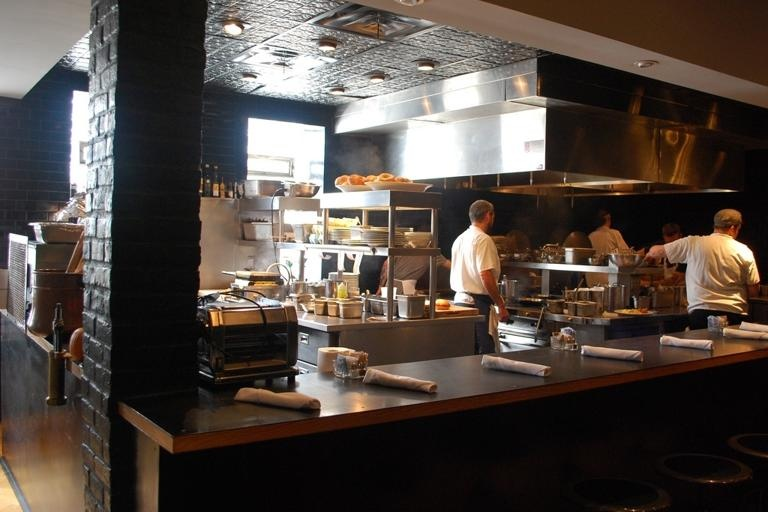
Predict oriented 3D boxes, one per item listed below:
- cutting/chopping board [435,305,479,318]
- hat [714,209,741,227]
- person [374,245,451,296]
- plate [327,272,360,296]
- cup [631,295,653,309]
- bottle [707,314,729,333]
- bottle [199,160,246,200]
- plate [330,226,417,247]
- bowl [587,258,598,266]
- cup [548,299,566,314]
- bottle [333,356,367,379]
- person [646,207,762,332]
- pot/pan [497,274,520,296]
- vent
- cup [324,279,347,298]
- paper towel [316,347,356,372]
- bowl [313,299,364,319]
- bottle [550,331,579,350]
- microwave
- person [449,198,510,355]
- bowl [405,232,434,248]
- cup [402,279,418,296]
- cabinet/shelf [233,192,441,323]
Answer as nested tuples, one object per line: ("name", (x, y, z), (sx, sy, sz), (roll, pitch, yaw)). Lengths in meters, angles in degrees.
("cutting/chopping board", (0.595, 0.465, 5.033), (0.471, 0.087, 0.156), (-2, 2, -24))
("hat", (3.253, -0.367, 5.634), (0.257, 0.111, 0.169), (-12, 15, -37))
("person", (0.489, 0.175, 6.834), (0.710, 0.366, 1.503), (16, 2, -15))
("plate", (-0.357, 0.233, 5.335), (0.241, 0.157, 0.233), (1, 1, 25))
("cup", (2.601, 0.457, 6.048), (0.129, 0.148, 0.221), (-1, 1, -11))
("bottle", (2.475, 0.486, 4.435), (0.181, 0.160, 0.133), (3, 7, 31))
("bottle", (-1.822, -0.845, 6.722), (0.431, 0.419, 0.559), (-2, 2, -16))
("plate", (-0.135, -0.165, 4.976), (0.334, 0.168, 0.860), (-3, 3, -44))
("bowl", (2.174, 0.051, 6.256), (0.080, 0.052, 0.075), (-1, 2, 0))
("cup", (1.652, 0.479, 5.727), (0.140, 0.094, 0.136), (0, -2, 0))
("bottle", (-0.180, 0.573, 3.142), (0.164, 0.114, 0.086), (-1, 2, -1))
("person", (3.072, 0.128, 5.677), (0.813, 1.120, 0.390), (0, 3, 27))
("pot/pan", (1.362, 0.337, 6.510), (0.259, 0.168, 0.184), (2, -2, -2))
("vent", (1.939, -1.392, 7.361), (3.044, 0.614, 3.095), (-7, 8, -24))
("cup", (-0.418, 0.273, 5.167), (0.167, 0.148, 0.164), (1, 1, 0))
("paper towel", (-0.262, 0.571, 3.373), (0.171, 0.092, 0.165), (0, 3, -31))
("bowl", (-0.357, 0.418, 4.845), (0.298, 0.087, 0.186), (0, 0, -15))
("bottle", (1.141, 0.527, 3.768), (0.149, 0.085, 0.105), (-1, 4, -26))
("microwave", (-0.709, 0.394, 3.103), (0.461, 0.364, 0.454), (0, 3, -30))
("person", (0.922, 0.218, 5.549), (0.426, 1.472, 0.643), (-2, 2, -13))
("bowl", (0.281, -0.135, 4.827), (0.197, 0.115, 0.163), (-1, 2, 1))
("cup", (0.216, 0.245, 4.930), (0.118, 0.098, 0.121), (0, -6, 0))
("cabinet/shelf", (-0.342, -0.048, 5.429), (1.080, 1.056, 1.989), (-2, 2, -19))
